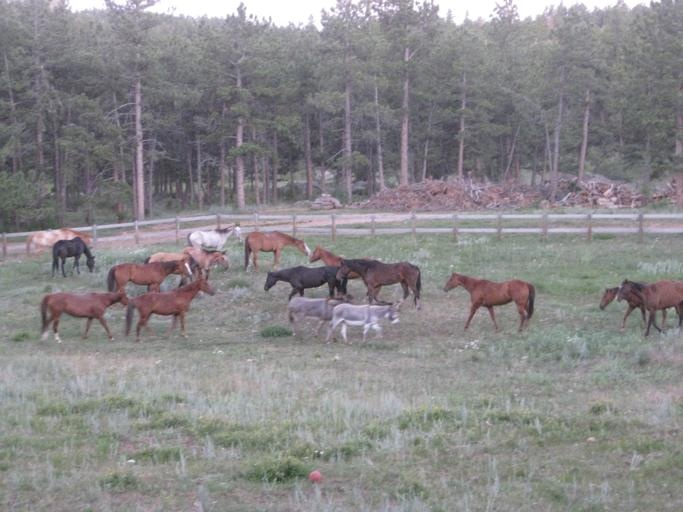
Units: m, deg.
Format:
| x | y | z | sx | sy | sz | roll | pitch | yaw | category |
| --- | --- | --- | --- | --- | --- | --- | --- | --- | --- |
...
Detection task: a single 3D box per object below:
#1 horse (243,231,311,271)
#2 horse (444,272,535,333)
| x | y | z | sx | sy | sz | roll | pitch | yaw | category |
| --- | --- | --- | --- | --- | --- | --- | --- | --- | --- |
| -4.889 | -0.377 | 92.423 | 5.021 | 3.137 | 1.371 | 2 | 2 | -7 | horse |
| 10.170 | 3.212 | 84.605 | 6.247 | 4.185 | 1.692 | 1 | 7 | 14 | horse |
